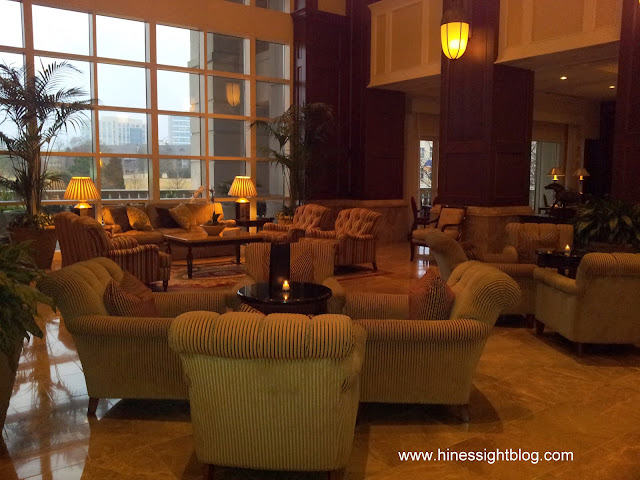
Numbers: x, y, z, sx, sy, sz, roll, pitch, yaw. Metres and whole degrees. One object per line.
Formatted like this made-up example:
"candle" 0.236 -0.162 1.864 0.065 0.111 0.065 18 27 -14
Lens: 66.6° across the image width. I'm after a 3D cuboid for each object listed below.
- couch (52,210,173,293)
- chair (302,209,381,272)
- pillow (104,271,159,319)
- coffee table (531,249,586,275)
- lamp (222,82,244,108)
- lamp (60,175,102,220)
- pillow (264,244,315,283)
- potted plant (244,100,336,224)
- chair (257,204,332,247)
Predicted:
"couch" -2.695 0.094 6.402 1.274 1.181 1.355 -3 9 -36
"chair" 0.286 -0.075 7.893 0.966 1.131 1.199 -2 3 -35
"pillow" -1.348 0.377 3.429 0.099 0.331 0.334 -30 -26 5
"coffee table" 2.535 0.239 5.155 0.324 0.250 0.350 -1 9 6
"lamp" -1.821 -3.027 10.110 0.425 0.528 0.424 -1 7 -14
"lamp" -3.869 -0.662 7.911 0.576 0.663 0.574 -2 5 9
"pillow" -0.291 0.224 4.481 0.349 0.340 0.180 -2 5 -31
"potted plant" -0.548 -1.771 10.923 2.267 2.659 2.081 -3 12 -8
"chair" -0.435 -0.303 8.406 0.891 0.970 0.823 0 6 -30
